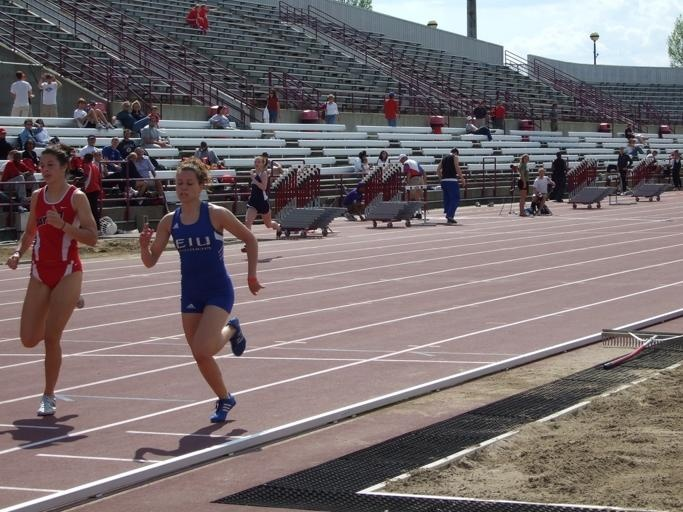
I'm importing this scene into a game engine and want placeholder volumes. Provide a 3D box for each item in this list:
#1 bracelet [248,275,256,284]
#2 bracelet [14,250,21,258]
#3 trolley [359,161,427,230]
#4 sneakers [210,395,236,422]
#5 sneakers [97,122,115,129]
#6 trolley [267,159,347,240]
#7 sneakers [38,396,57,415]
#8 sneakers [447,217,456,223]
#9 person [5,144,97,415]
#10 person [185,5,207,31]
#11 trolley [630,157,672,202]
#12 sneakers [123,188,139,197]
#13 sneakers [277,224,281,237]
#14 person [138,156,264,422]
[{"bbox_3d":[-0.663,0.172,6.689,0.064,0.044,0.060,3,10,19],"label":"bracelet"},{"bbox_3d":[-2.567,-0.017,7.062,0.055,0.055,0.043,10,15,18],"label":"bracelet"},{"bbox_3d":[1.296,-1.678,24.763,1.976,1.995,1.801,1,5,27],"label":"trolley"},{"bbox_3d":[-0.882,1.144,6.672,0.181,0.189,0.111,0,9,-16],"label":"sneakers"},{"bbox_3d":[-6.343,-3.526,23.986,0.410,0.141,0.138,-2,16,-8],"label":"sneakers"},{"bbox_3d":[-0.899,-1.396,22.194,2.054,1.984,1.596,1,9,21],"label":"trolley"},{"bbox_3d":[-2.288,1.155,6.942,0.143,0.151,0.196,0,9,-17],"label":"sneakers"},{"bbox_3d":[3.045,-0.999,24.496,0.236,0.163,0.097,-7,26,-8],"label":"sneakers"},{"bbox_3d":[-2.310,0.159,7.077,0.615,2.072,0.580,8,10,32],"label":"person"},{"bbox_3d":[-5.805,-9.687,36.029,0.825,1.048,0.998,1,8,-9],"label":"person"},{"bbox_3d":[12.748,-3.164,36.850,1.522,2.245,2.594,0,5,33],"label":"trolley"},{"bbox_3d":[-4.880,-1.490,20.698,0.181,0.242,0.568,3,8,8],"label":"sneakers"},{"bbox_3d":[-1.414,-0.600,20.245,0.103,0.308,0.124,3,-35,1],"label":"sneakers"},{"bbox_3d":[-1.049,0.244,6.775,0.860,1.958,0.582,5,9,19],"label":"person"}]
